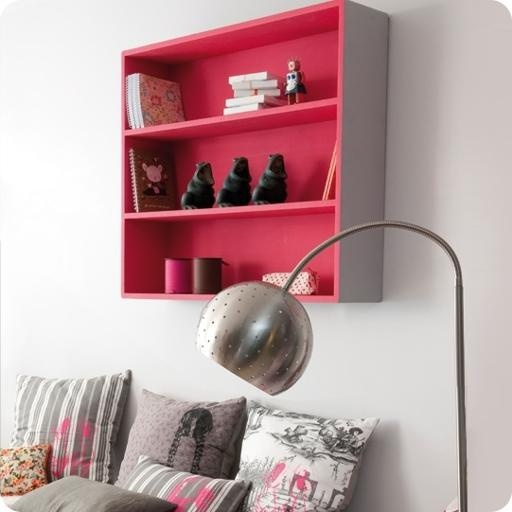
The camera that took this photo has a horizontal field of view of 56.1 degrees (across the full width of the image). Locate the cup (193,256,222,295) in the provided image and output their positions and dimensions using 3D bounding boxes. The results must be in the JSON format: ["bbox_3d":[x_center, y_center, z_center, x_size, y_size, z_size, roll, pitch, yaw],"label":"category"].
[{"bbox_3d":[-0.185,0.073,1.819,0.124,0.135,0.125,1,-2,0],"label":"cup"}]

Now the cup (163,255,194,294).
[{"bbox_3d":[-0.317,0.082,1.893,0.126,0.132,0.126,0,-3,0],"label":"cup"}]

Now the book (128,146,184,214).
[{"bbox_3d":[-0.437,-0.322,2.052,0.316,0.373,0.055,2,-8,-44],"label":"book"}]

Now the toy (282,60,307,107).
[{"bbox_3d":[0.138,-0.592,1.646,0.069,0.144,0.070,6,-1,4],"label":"toy"}]

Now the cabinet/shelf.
[{"bbox_3d":[0.006,-0.379,1.761,0.348,1.139,1.292,2,-2,-44],"label":"cabinet/shelf"}]

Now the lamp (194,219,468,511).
[{"bbox_3d":[0.137,0.170,0.822,0.480,0.434,0.134,6,-1,-16],"label":"lamp"}]
